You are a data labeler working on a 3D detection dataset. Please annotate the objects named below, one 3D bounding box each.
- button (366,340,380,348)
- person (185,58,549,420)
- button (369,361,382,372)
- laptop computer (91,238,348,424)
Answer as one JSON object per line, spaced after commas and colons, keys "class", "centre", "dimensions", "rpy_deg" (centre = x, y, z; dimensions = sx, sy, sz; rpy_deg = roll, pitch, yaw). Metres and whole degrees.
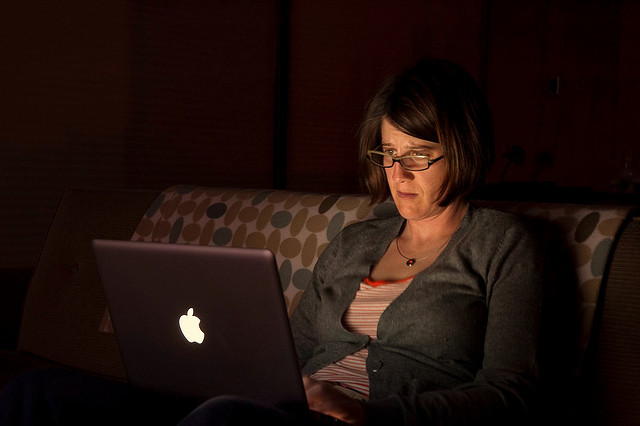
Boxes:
{"class": "button", "centre": [0.165, 0.405, 1.500], "dimensions": [0.025, 0.007, 0.023], "rpy_deg": [-11, 17, -13]}
{"class": "person", "centre": [0.262, 0.121, 1.918], "dimensions": [1.125, 1.244, 0.995], "rpy_deg": [13, -13, -38]}
{"class": "button", "centre": [0.165, 0.453, 1.432], "dimensions": [0.031, 0.028, 0.008], "rpy_deg": [-23, -44, 33]}
{"class": "laptop computer", "centre": [-0.225, 0.258, 1.256], "dimensions": [0.601, 0.413, 0.498], "rpy_deg": [0, 0, 32]}
